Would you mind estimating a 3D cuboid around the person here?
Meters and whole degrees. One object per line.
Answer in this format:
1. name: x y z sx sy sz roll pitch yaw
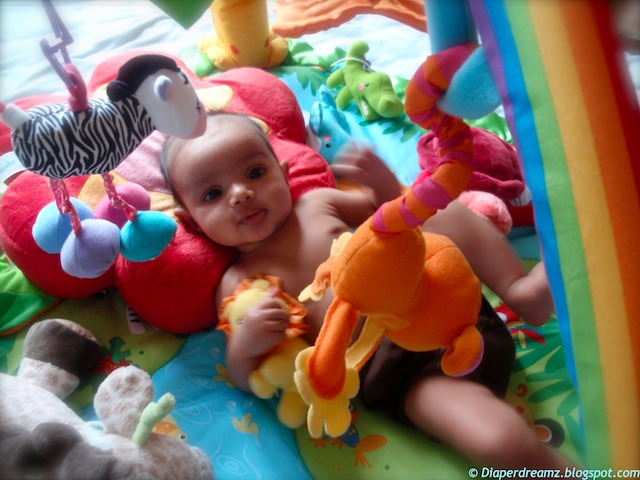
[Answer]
1. person: 0.043 0.040 1.175 0.558 0.466 0.965 -49 39 -9
